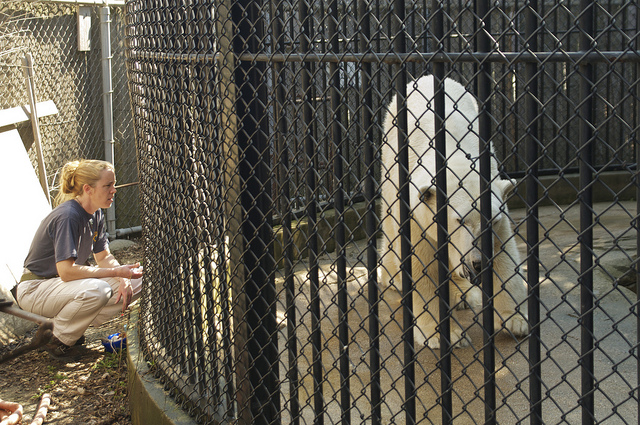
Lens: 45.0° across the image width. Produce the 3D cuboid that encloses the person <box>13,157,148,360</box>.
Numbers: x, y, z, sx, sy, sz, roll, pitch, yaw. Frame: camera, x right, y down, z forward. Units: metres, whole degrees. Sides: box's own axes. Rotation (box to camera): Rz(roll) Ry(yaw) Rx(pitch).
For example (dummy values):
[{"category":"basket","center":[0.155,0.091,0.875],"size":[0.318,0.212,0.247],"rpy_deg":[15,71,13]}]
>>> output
[{"category":"person","center":[-2.390,0.456,7.704],"size":[1.062,2.023,1.015],"rpy_deg":[0,2,-20]}]

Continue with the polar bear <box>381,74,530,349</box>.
[{"category":"polar bear","center":[1.113,0.026,6.524],"size":[1.257,2.479,3.016],"rpy_deg":[-2,12,5]}]
